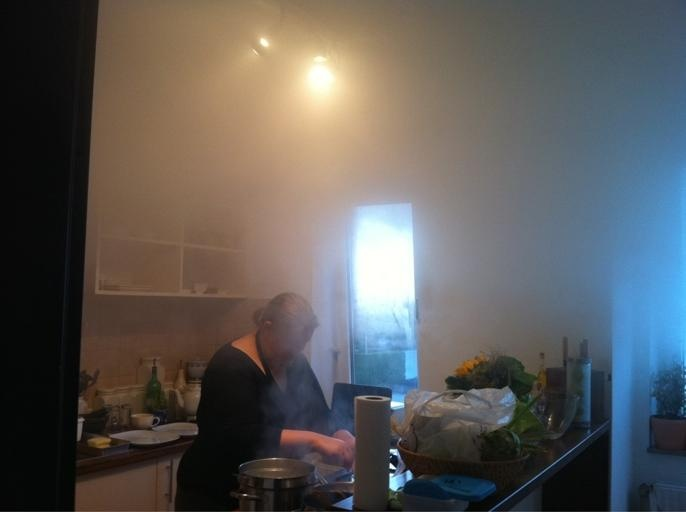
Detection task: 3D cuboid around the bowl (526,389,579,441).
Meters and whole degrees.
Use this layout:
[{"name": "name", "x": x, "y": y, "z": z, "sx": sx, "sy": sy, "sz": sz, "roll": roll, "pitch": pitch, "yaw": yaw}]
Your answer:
[{"name": "bowl", "x": 0.578, "y": 0.428, "z": 1.451, "sx": 0.103, "sy": 0.125, "sz": 0.182, "roll": -5, "pitch": -9, "yaw": 30}]

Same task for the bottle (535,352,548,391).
[{"name": "bottle", "x": 0.634, "y": 0.364, "z": 1.738, "sx": 0.032, "sy": 0.117, "sz": 0.096, "roll": -3, "pitch": -8, "yaw": 19}]

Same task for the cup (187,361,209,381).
[{"name": "cup", "x": -0.216, "y": 0.170, "z": 0.831, "sx": 0.036, "sy": 0.038, "sz": 0.042, "roll": 2, "pitch": -11, "yaw": -7}]

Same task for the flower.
[{"name": "flower", "x": 0.344, "y": 0.273, "z": 1.267, "sx": 0.143, "sy": 0.071, "sz": 0.148, "roll": -2, "pitch": -9, "yaw": -16}]
